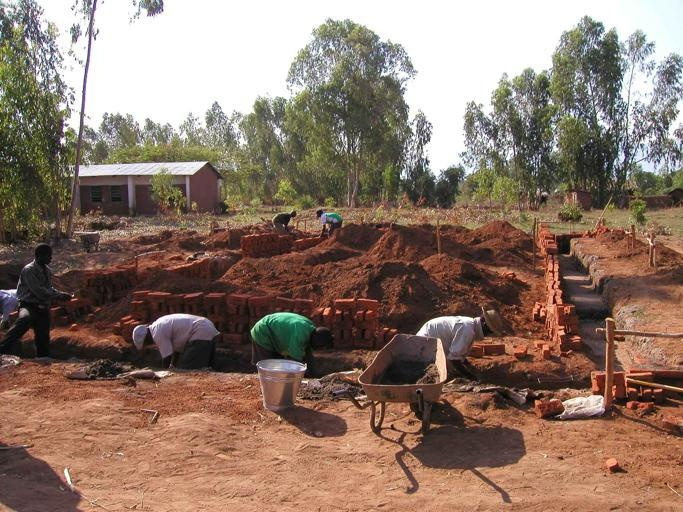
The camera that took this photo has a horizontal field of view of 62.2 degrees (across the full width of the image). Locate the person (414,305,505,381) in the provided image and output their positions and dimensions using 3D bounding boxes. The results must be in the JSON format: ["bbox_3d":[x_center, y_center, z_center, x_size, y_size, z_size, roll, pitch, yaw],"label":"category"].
[{"bbox_3d":[1.630,1.210,7.749,1.260,0.916,0.636,-1,9,36],"label":"person"}]

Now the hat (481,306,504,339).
[{"bbox_3d":[2.030,0.894,7.707,0.184,0.534,0.573,-14,-6,8],"label":"hat"}]

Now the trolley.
[{"bbox_3d":[0.806,1.577,6.989,0.720,0.707,1.583,-1,23,15],"label":"trolley"}]

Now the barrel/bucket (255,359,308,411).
[{"bbox_3d":[-0.777,1.592,7.205,0.581,0.493,0.594,3,3,0],"label":"barrel/bucket"}]

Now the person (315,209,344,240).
[{"bbox_3d":[-0.302,-0.948,17.929,0.651,0.878,1.914,-1,0,1],"label":"person"}]

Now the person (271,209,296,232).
[{"bbox_3d":[-1.868,-1.110,18.305,0.618,0.704,1.694,-1,0,-8],"label":"person"}]

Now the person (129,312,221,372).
[{"bbox_3d":[-2.413,1.356,8.378,1.241,1.056,0.770,-3,6,-16],"label":"person"}]

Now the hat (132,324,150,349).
[{"bbox_3d":[-2.860,1.157,8.090,0.205,0.341,0.320,-1,0,-19],"label":"hat"}]

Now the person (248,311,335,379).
[{"bbox_3d":[-0.697,1.256,7.916,1.081,0.914,0.671,5,3,21],"label":"person"}]
